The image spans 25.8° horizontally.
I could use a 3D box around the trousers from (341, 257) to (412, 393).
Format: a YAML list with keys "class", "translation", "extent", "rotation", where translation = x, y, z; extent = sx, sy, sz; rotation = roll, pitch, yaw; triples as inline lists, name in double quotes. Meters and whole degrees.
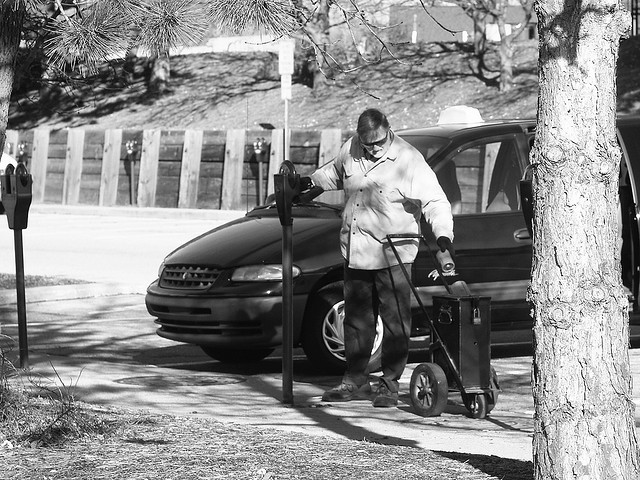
- class: "trousers"
  translation: [0.433, 0.655, 11.027]
  extent: [0.480, 1.089, 0.314]
  rotation: [4, -6, 14]

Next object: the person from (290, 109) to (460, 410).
- class: "person"
  translation: [0.405, 0.161, 10.976]
  extent: [1.109, 2.317, 1.443]
  rotation: [2, -6, -9]

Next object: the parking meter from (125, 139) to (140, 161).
- class: "parking meter"
  translation: [-4.082, -2.002, 30.517]
  extent: [0.283, 0.466, 0.552]
  rotation: [2, -6, -8]

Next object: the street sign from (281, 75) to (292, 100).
- class: "street sign"
  translation: [-0.473, -2.212, 19.996]
  extent: [0.115, 0.332, 0.365]
  rotation: [2, -6, -6]

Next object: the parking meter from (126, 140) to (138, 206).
- class: "parking meter"
  translation: [-4.110, -1.479, 30.477]
  extent: [0.315, 1.364, 0.236]
  rotation: [-3, -8, 16]

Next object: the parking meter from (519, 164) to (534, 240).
- class: "parking meter"
  translation: [1.521, -0.315, 10.209]
  extent: [0.107, 0.459, 0.448]
  rotation: [-2, 7, 19]

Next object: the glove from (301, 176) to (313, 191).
- class: "glove"
  translation: [-0.099, -0.438, 10.711]
  extent: [0.035, 0.105, 0.079]
  rotation: [4, 1, 30]

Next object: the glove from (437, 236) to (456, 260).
- class: "glove"
  translation: [0.948, 0.042, 10.277]
  extent: [0.057, 0.166, 0.117]
  rotation: [-12, -14, -14]
